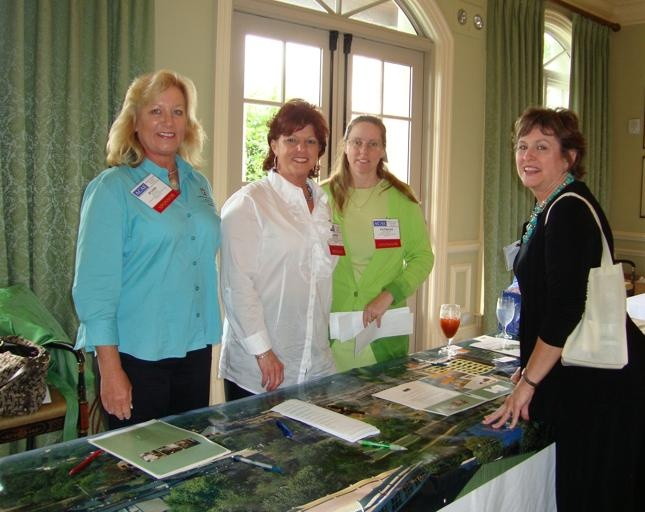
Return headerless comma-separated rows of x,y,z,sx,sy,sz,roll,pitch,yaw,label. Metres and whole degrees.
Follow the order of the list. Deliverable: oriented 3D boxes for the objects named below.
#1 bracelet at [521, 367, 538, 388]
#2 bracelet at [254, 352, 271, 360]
0.602,0.352,1.468,0.041,0.023,0.058,24,25,-35,bracelet
-0.215,0.344,1.742,0.031,0.013,0.035,-26,-15,20,bracelet
